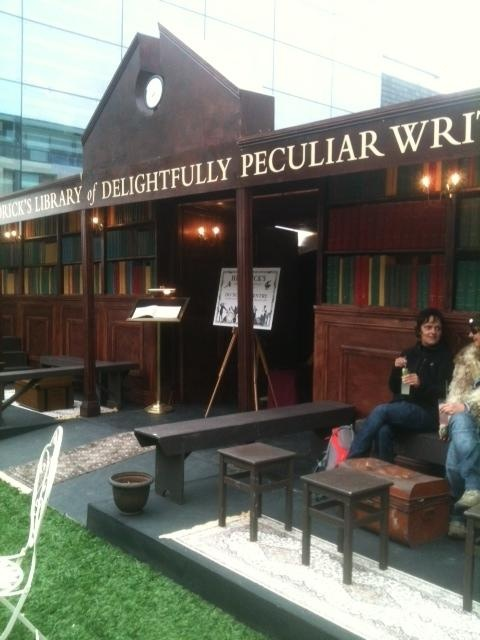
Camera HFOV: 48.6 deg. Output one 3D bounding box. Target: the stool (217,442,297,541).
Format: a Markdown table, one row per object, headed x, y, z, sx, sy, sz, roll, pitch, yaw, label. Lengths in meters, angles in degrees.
| x | y | z | sx | sy | sz | roll | pitch | yaw | label |
| --- | --- | --- | --- | --- | --- | --- | --- | --- | --- |
| 0.085 | 0.903 | 2.811 | 0.330 | 0.446 | 0.366 | 2 | 1 | 35 | stool |

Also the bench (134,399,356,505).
| x | y | z | sx | sy | sz | roll | pitch | yaw | label |
| --- | --- | --- | --- | --- | --- | --- | --- | --- | --- |
| 0.120 | 0.922 | 3.758 | 1.656 | 0.495 | 0.337 | -1 | 0 | -34 | bench |

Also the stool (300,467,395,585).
| x | y | z | sx | sy | sz | roll | pitch | yaw | label |
| --- | --- | --- | --- | --- | --- | --- | --- | --- | --- |
| 0.461 | 0.806 | 2.341 | 0.450 | 0.561 | 0.529 | 4 | -17 | 11 | stool |

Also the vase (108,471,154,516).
| x | y | z | sx | sy | sz | roll | pitch | yaw | label |
| --- | --- | --- | --- | --- | --- | --- | --- | --- | --- |
| -0.605 | 0.936 | 2.910 | 0.199 | 0.176 | 0.225 | 0 | 2 | -1 | vase |
